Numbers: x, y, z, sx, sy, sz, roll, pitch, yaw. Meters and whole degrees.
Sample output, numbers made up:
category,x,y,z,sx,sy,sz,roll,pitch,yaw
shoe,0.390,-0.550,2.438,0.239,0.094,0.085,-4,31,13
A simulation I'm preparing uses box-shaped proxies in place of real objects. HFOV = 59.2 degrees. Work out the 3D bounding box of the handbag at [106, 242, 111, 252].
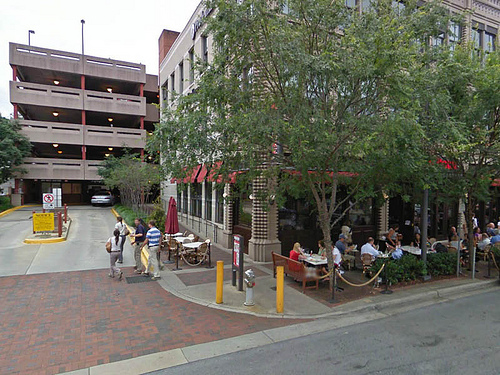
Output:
category,x,y,z,sx,sy,sz,roll,pitch,yaw
handbag,-5.872,2.429,18.223,0.159,0.433,0.495,1,-3,-21

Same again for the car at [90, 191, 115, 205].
category,x,y,z,sx,sy,sz,roll,pitch,yaw
car,-14.415,1.036,43.037,1.920,1.313,2.066,2,-3,-18

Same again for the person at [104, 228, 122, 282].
category,x,y,z,sx,sy,sz,roll,pitch,yaw
person,-5.607,2.735,18.232,0.637,2.038,0.777,1,-2,-7
